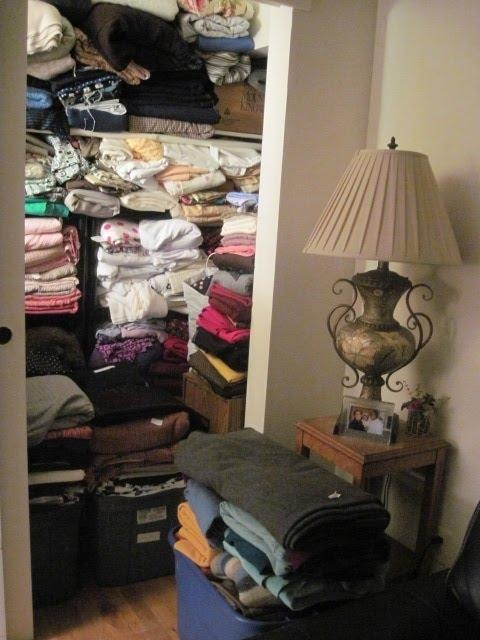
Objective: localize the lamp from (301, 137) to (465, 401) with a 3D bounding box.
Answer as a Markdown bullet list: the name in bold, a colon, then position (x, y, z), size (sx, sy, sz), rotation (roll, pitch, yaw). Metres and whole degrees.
- **lamp**: position (0.400, -0.103, 1.630), size (0.436, 0.792, 0.514), rotation (-6, 9, -9)

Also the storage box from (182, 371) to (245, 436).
- **storage box**: position (-0.115, 0.371, 2.346), size (0.226, 0.216, 0.379), rotation (0, 6, -29)

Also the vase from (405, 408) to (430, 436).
- **vase**: position (0.511, 0.306, 1.652), size (0.078, 0.072, 0.072), rotation (0, 9, -1)
